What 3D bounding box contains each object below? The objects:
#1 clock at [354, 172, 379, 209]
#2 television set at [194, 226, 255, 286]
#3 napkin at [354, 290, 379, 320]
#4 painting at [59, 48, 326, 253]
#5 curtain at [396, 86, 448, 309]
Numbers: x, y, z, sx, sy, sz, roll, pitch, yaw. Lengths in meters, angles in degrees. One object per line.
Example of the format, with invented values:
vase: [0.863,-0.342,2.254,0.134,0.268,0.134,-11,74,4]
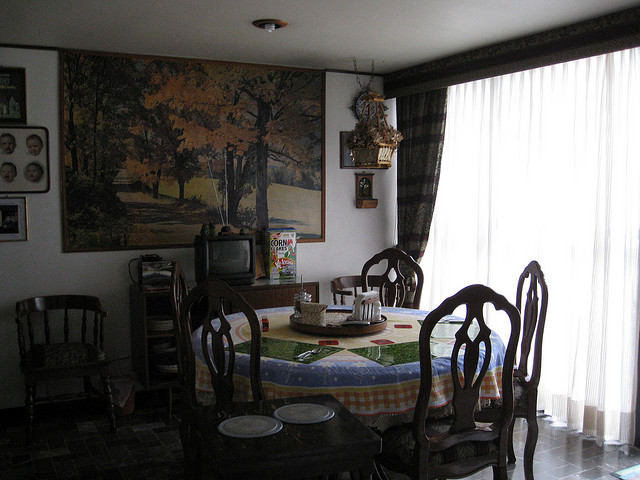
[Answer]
clock: [0.509,-0.541,5.533,0.247,0.402,0.096,-3,9,-19]
television set: [-0.873,0.149,4.811,0.532,0.493,0.376,-4,13,-13]
napkin: [0.314,0.442,3.329,0.057,0.204,0.181,1,2,40]
painting: [-1.194,-0.832,4.875,2.461,1.835,0.240,-3,9,-18]
curtain: [1.127,-0.428,5.415,0.251,2.284,0.590,-6,9,-38]
